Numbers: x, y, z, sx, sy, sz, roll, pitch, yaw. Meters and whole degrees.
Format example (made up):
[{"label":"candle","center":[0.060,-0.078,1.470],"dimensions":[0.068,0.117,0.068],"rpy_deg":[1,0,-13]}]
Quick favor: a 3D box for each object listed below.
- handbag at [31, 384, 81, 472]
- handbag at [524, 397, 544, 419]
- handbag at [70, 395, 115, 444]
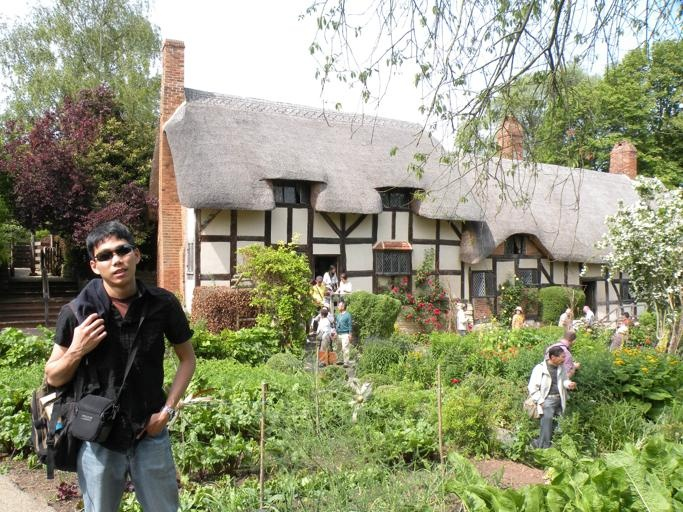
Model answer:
[{"label":"handbag","center":[-2.955,1.838,6.682],"dimensions":[0.604,0.972,0.203],"rpy_deg":[-2,-4,23]},{"label":"handbag","center":[3.100,2.495,10.437],"dimensions":[0.256,0.380,0.287],"rpy_deg":[-7,6,13]},{"label":"handbag","center":[-2.497,1.680,6.519],"dimensions":[0.358,0.408,0.204],"rpy_deg":[5,-11,25]}]
